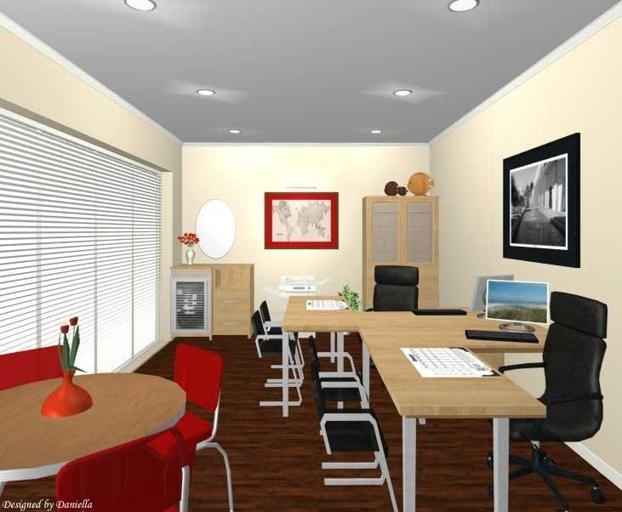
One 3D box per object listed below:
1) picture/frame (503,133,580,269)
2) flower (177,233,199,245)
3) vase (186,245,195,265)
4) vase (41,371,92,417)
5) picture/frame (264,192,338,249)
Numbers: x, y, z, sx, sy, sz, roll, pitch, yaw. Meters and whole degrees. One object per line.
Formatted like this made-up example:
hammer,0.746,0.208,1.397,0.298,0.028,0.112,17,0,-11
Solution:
picture/frame,1.961,-0.421,4.000,1.264,1.019,0.035,-11,11,-35
flower,-1.801,-0.236,6.731,0.233,0.138,0.235,-5,-7,24
vase,-1.808,-0.036,6.899,0.152,0.303,0.479,-2,7,-15
vase,-1.258,0.692,2.364,0.228,0.161,0.232,1,-3,-21
picture/frame,-0.171,-0.592,7.121,0.929,0.620,0.021,0,0,-2
